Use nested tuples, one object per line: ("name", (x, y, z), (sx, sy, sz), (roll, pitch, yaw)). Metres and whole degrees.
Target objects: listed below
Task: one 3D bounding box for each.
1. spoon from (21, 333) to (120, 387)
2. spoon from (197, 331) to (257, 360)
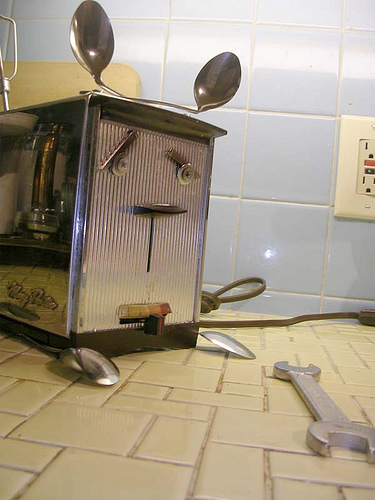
("spoon", (-0.111, 0.102, 0.468), (0.106, 0.010, 0.031), (21, 30, 34))
("spoon", (0.050, 0.125, 0.609), (0.081, 0.027, 0.043), (6, 3, 34))
